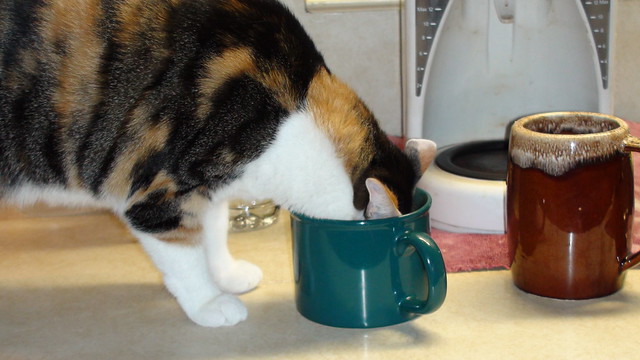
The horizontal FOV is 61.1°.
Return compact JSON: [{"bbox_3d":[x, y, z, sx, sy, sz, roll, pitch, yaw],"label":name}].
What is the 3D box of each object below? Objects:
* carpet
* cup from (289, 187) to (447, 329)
[{"bbox_3d":[0.362,-0.002,1.213,0.423,0.088,0.377,-2,19,-3],"label":"carpet"},{"bbox_3d":[0.085,0.147,1.105,0.245,0.173,0.296,-8,13,-34],"label":"cup"}]
